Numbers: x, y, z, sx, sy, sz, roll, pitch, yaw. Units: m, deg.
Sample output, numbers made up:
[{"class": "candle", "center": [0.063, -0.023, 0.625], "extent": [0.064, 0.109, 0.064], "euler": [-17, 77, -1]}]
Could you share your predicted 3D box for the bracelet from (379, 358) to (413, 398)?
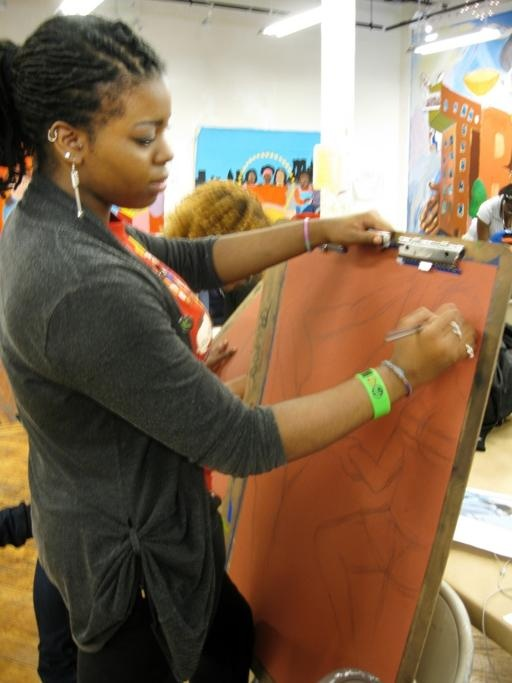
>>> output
[{"class": "bracelet", "center": [0.182, 0.041, 0.624], "extent": [0.015, 0.046, 0.035], "euler": [-30, 21, -9]}]

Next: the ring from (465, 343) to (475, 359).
[{"class": "ring", "center": [0.301, 0.012, 0.671], "extent": [0.005, 0.021, 0.012], "euler": [0, 3, 8]}]

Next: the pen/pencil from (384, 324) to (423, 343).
[{"class": "pen/pencil", "center": [0.210, -0.009, 0.688], "extent": [0.013, 0.024, 0.081], "euler": [16, -10, -18]}]

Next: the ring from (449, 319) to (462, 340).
[{"class": "ring", "center": [0.277, -0.018, 0.663], "extent": [0.009, 0.025, 0.016], "euler": [-25, -1, 23]}]
